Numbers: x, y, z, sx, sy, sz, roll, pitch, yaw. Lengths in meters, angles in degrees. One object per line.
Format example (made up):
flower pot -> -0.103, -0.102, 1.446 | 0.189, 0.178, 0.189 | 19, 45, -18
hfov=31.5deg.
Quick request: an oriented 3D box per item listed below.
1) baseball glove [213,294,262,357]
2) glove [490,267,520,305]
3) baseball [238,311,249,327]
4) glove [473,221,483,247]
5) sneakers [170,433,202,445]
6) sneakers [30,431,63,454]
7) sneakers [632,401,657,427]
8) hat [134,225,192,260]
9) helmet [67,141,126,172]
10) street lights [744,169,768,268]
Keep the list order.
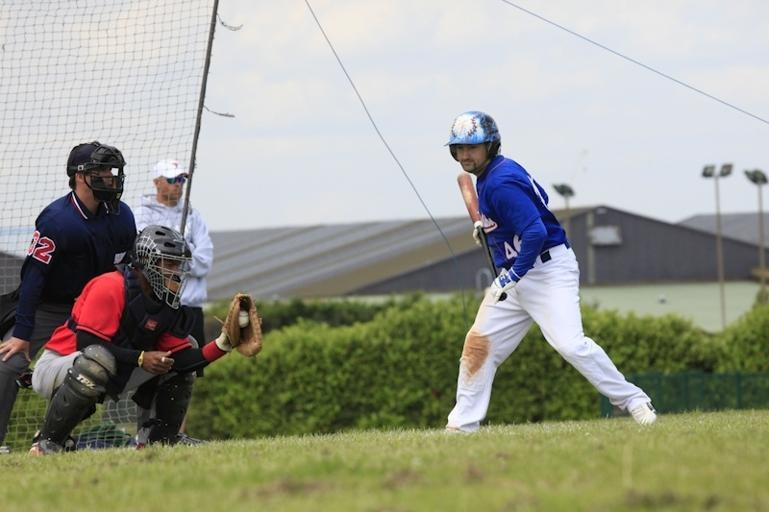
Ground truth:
baseball glove -> -1.322, 0.612, 12.239 | 0.218, 0.535, 0.396 | 2, -2, 35
glove -> 1.107, 0.277, 12.496 | 0.127, 0.223, 0.302 | 14, -55, -46
baseball -> -1.260, 0.555, 12.205 | 0.113, 0.109, 0.113 | 6, -5, -33
glove -> 0.884, -0.230, 13.212 | 0.063, 0.186, 0.137 | 2, 17, 13
sneakers -> -1.818, 1.696, 12.698 | 0.218, 0.087, 0.134 | 0, 2, 17
sneakers -> -3.004, 1.636, 12.043 | 0.258, 0.175, 0.169 | -4, 0, 11
sneakers -> 2.364, 1.439, 12.413 | 0.149, 0.232, 0.094 | -22, 14, 24
hat -> -1.967, -0.113, 12.020 | 0.372, 0.345, 0.297 | 4, 16, -9
helmet -> -2.651, -0.894, 12.471 | 0.386, 0.198, 0.284 | -10, -5, 21
street lights -> 3.868, -0.396, 13.994 | 0.191, 0.970, 0.448 | -3, 10, -14
